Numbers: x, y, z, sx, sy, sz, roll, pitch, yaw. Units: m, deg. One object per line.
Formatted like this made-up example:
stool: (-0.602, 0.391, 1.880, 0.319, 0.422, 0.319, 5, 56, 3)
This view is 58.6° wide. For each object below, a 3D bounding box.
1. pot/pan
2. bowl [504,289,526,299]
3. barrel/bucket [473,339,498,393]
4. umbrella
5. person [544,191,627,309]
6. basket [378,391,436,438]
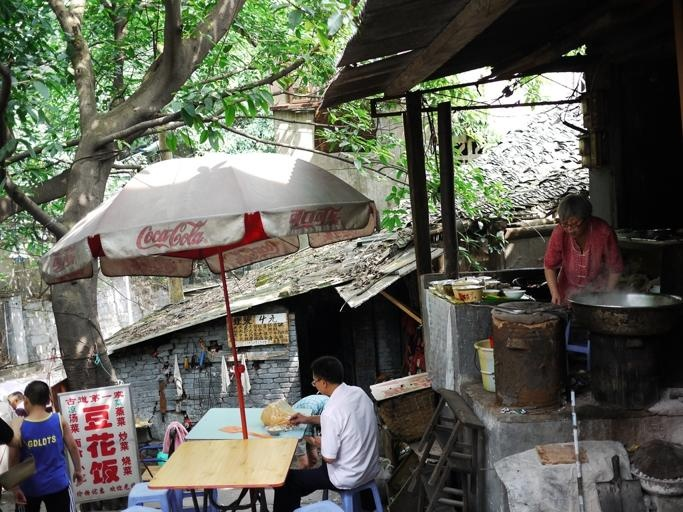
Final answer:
pot/pan: (2.674, 0.535, 5.751, 0.965, 0.424, 0.736, -3, -5, 0)
bowl: (1.914, 0.419, 6.719, 0.212, 0.128, 0.215, -3, -5, 0)
barrel/bucket: (1.569, 1.182, 6.281, 0.370, 0.432, 0.403, 3, -11, 1)
umbrella: (-1.375, 0.796, 7.366, 3.810, 3.224, 3.876, -7, -10, -11)
person: (2.609, -0.064, 6.779, 0.846, 1.158, 0.608, -7, -6, 43)
basket: (0.990, 2.320, 8.878, 0.664, 0.575, 0.807, -19, -13, 3)
